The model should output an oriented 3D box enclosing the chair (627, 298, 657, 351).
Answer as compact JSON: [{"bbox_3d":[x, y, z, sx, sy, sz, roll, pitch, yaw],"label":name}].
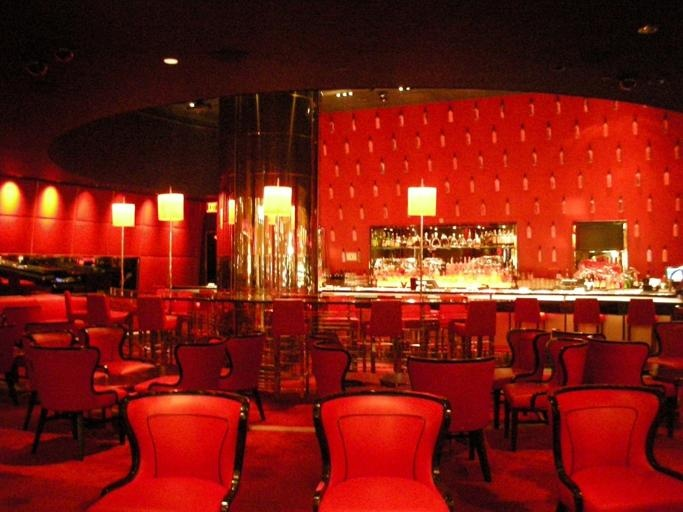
[{"bbox_3d":[4.040,0.834,8.650,0.368,0.738,0.401,0,23,21],"label":"chair"}]

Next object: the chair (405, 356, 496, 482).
[{"bbox_3d":[0.923,1.330,5.283,0.681,1.021,0.659,-2,1,-3],"label":"chair"}]

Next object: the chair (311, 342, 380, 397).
[{"bbox_3d":[0.018,1.104,6.018,0.574,0.717,0.569,-1,15,13],"label":"chair"}]

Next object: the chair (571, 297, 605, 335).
[{"bbox_3d":[3.493,0.847,9.010,0.385,0.465,0.891,0,-5,22],"label":"chair"}]

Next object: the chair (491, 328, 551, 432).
[{"bbox_3d":[1.744,1.254,6.280,0.642,0.968,0.653,-7,8,29],"label":"chair"}]

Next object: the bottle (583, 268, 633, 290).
[{"bbox_3d":[4.298,0.398,10.269,0.760,0.318,0.461,1,-5,11],"label":"bottle"}]

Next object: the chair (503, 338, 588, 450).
[{"bbox_3d":[1.774,1.211,5.839,0.630,0.939,0.626,6,7,-14],"label":"chair"}]

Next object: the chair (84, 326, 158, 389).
[{"bbox_3d":[-2.300,1.064,6.488,0.583,0.727,0.545,-2,-2,33],"label":"chair"}]

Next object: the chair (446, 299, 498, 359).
[{"bbox_3d":[1.596,0.897,7.739,0.421,0.720,0.513,0,2,-16],"label":"chair"}]

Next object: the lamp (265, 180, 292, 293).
[{"bbox_3d":[-0.874,-0.280,8.607,0.408,1.483,0.638,2,-4,-5],"label":"lamp"}]

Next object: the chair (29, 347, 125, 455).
[{"bbox_3d":[-2.501,1.297,5.770,0.613,0.885,0.687,1,-6,6],"label":"chair"}]

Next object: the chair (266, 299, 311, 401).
[{"bbox_3d":[-0.619,1.101,7.739,0.477,1.141,0.566,2,-4,-3],"label":"chair"}]

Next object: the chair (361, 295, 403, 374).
[{"bbox_3d":[0.519,0.943,7.488,0.445,0.814,0.491,1,-2,-14],"label":"chair"}]

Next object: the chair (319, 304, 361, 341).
[{"bbox_3d":[-0.021,0.848,7.974,0.437,0.684,0.494,0,-8,0],"label":"chair"}]
